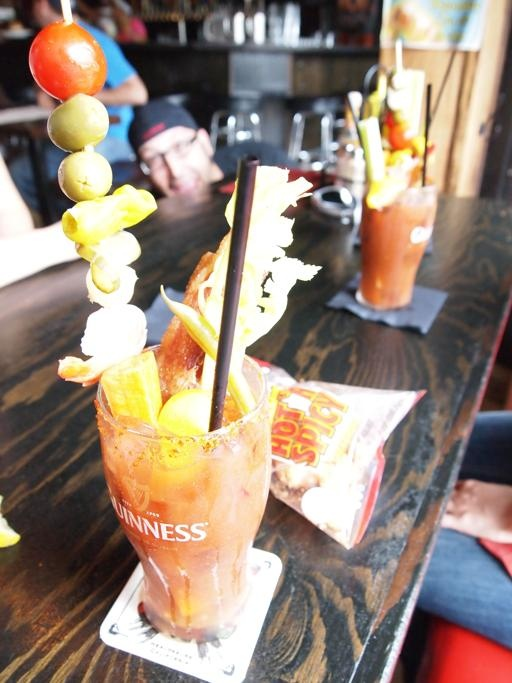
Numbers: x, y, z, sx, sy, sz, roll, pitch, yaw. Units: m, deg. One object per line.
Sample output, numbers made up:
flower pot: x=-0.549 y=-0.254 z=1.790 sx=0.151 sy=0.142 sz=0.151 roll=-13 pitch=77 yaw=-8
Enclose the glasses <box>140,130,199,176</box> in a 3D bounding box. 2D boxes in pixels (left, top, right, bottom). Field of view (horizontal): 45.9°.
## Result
glasses: x=-0.313 y=-0.690 z=2.249 sx=0.150 sy=0.118 sz=0.164 roll=-27 pitch=21 yaw=21
